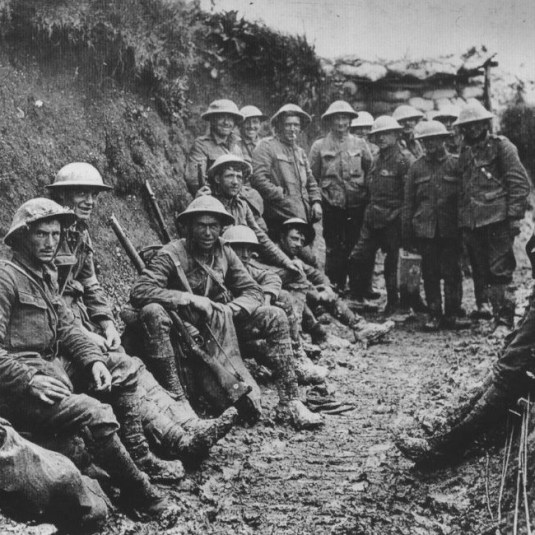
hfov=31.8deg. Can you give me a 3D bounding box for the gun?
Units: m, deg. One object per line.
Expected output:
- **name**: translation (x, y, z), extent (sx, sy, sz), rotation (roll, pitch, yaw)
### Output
- **gun**: translation (-0.646, 0.329, 6.602), extent (0.085, 1.326, 0.311), rotation (-26, 1, 41)

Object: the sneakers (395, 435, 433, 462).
- **sneakers**: translation (1.054, 1.303, 6.777), extent (0.182, 0.111, 0.149), rotation (15, 16, 33)

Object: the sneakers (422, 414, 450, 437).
- **sneakers**: translation (1.232, 1.158, 6.910), extent (0.197, 0.116, 0.120), rotation (-5, 7, -4)

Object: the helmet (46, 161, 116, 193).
- **helmet**: translation (-1.290, -0.616, 6.328), extent (0.229, 0.116, 0.248), rotation (-1, -3, 28)

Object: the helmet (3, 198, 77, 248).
- **helmet**: translation (-1.404, -0.277, 5.735), extent (0.340, 0.212, 0.290), rotation (-26, -10, -4)

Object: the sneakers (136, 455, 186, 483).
- **sneakers**: translation (-0.695, 1.290, 6.108), extent (0.121, 0.185, 0.363), rotation (19, 5, 39)

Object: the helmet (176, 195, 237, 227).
- **helmet**: translation (-0.452, -0.432, 6.924), extent (0.235, 0.123, 0.274), rotation (0, -11, 9)
